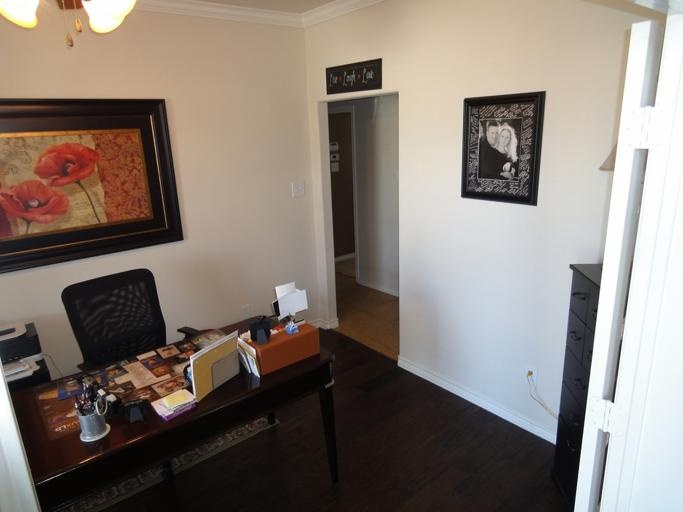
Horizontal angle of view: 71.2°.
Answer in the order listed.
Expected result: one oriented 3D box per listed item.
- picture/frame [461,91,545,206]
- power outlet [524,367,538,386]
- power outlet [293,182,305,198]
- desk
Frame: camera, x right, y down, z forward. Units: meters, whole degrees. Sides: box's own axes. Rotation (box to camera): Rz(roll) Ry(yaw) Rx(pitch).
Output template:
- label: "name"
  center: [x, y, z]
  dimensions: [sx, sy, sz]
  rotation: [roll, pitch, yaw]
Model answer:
- label: "picture/frame"
  center: [1.142, -0.762, 3.305]
  dimensions: [0.061, 0.879, 0.679]
  rotation: [-12, 18, -40]
- label: "power outlet"
  center: [1.379, 0.879, 3.460]
  dimensions: [0.017, 0.153, 0.112]
  rotation: [-13, 23, -34]
- label: "power outlet"
  center: [-0.437, -0.672, 4.852]
  dimensions: [0.020, 0.131, 0.144]
  rotation: [11, 17, 43]
- label: "desk"
  center: [-0.906, 1.064, 2.901]
  dimensions: [1.701, 1.071, 0.761]
  rotation: [-14, 20, -31]
